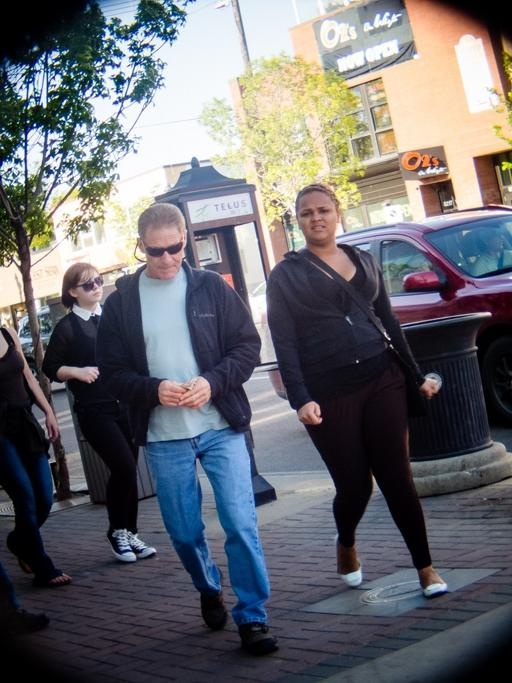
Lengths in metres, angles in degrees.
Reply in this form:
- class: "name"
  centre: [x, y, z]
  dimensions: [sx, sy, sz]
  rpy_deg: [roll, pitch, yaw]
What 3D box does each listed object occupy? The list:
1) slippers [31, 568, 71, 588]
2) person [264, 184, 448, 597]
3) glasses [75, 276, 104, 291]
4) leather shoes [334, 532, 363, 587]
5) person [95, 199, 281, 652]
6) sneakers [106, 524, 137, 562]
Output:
- class: "slippers"
  centre: [-1.559, 1.775, 3.961]
  dimensions: [0.268, 0.161, 0.136]
  rpy_deg: [-3, 5, 4]
- class: "person"
  centre: [0.448, 0.238, 2.396]
  dimensions: [0.617, 1.522, 0.644]
  rpy_deg: [-13, 5, 18]
- class: "glasses"
  centre: [-1.493, -0.496, 4.565]
  dimensions: [0.153, 0.045, 0.148]
  rpy_deg: [-12, 4, 31]
- class: "leather shoes"
  centre: [0.465, 1.121, 2.620]
  dimensions: [0.116, 0.286, 0.129]
  rpy_deg: [-12, -7, 7]
- class: "person"
  centre: [-0.206, 0.361, 2.350]
  dimensions: [0.619, 1.888, 0.796]
  rpy_deg: [-19, 7, -39]
- class: "sneakers"
  centre: [-1.149, 1.665, 4.354]
  dimensions: [0.135, 0.156, 0.393]
  rpy_deg: [-5, 18, -31]
